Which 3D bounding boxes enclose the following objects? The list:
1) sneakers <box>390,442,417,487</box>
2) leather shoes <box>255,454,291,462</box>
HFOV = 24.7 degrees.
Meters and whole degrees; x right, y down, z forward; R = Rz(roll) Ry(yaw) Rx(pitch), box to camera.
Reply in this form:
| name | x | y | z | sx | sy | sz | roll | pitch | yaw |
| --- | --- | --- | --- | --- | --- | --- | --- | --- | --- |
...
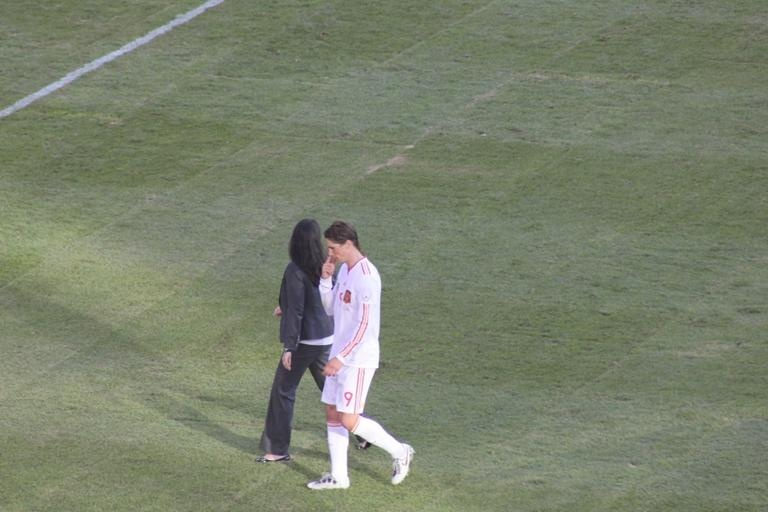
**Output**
| name | x | y | z | sx | sy | sz | roll | pitch | yaw |
| --- | --- | --- | --- | --- | --- | --- | --- | --- | --- |
| sneakers | 0.254 | 2.556 | 21.488 | 0.281 | 0.536 | 0.215 | -4 | 15 | -34 |
| leather shoes | -1.374 | 2.519 | 21.704 | 0.328 | 0.072 | 0.137 | 4 | -5 | -4 |
